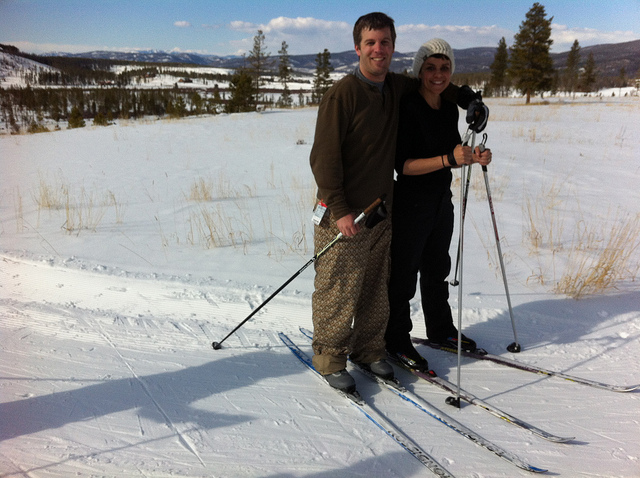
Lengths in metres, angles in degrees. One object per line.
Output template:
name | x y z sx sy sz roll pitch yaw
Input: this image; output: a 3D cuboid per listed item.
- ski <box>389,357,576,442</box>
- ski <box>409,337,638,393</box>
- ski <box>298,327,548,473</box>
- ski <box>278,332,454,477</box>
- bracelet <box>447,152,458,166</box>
ski | 1.481 1.541 5.110 1.159 0.102 0.134 30 -6 25
ski | 2.010 1.294 5.494 1.385 0.132 0.128 19 28 30
ski | 0.895 1.536 5.059 0.092 0.187 1.701 -31 53 -22
ski | 0.406 1.565 4.997 0.080 0.177 1.564 -10 44 -29
bracelet | 1.209 -0.741 5.095 0.033 0.101 0.071 -30 -5 8
